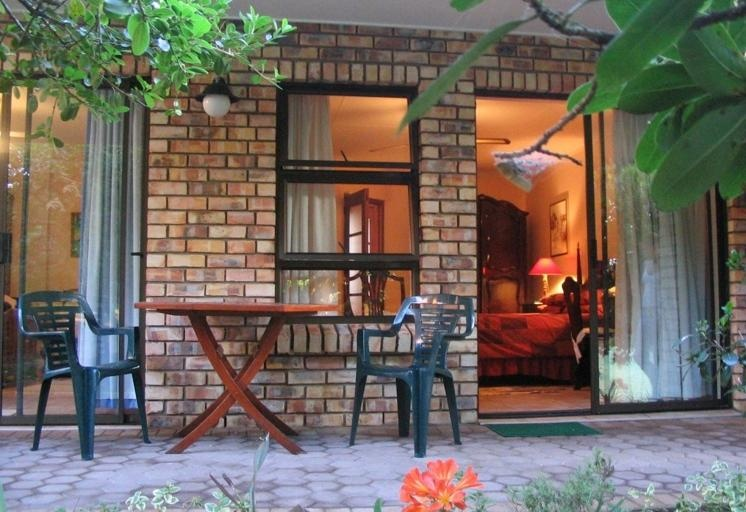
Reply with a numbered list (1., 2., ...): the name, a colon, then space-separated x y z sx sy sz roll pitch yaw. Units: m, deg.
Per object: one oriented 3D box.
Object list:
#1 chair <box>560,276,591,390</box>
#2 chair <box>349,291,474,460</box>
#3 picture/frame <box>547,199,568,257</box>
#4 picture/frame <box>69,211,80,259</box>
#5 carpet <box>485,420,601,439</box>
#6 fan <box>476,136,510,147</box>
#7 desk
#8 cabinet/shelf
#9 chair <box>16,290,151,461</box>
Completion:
1. chair: 1.971 0.755 7.237 0.325 0.948 0.374 0 6 11
2. chair: 0.283 0.763 5.149 0.812 0.973 1.073 1 4 7
3. picture/frame: 2.416 -0.380 9.810 0.030 0.728 0.673 0 5 32
4. picture/frame: -2.181 -0.159 5.496 0.074 0.331 0.037 0 5 -8
5. carpet: 1.210 1.238 5.356 0.742 0.023 0.436 0 4 -8
6. fan: 1.449 -1.388 9.057 0.420 0.084 0.376 2 4 21
7. desk: -0.901 0.760 4.992 1.128 0.989 0.777 1 5 3
8. cabinet/shelf: 1.757 0.002 10.416 0.625 1.976 0.722 2 0 -7
9. chair: -1.925 0.760 4.995 0.697 0.984 0.655 2 0 26
